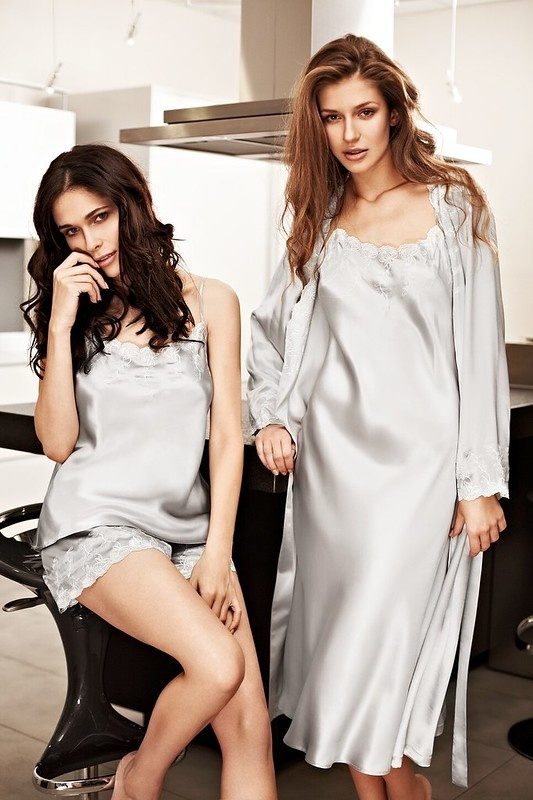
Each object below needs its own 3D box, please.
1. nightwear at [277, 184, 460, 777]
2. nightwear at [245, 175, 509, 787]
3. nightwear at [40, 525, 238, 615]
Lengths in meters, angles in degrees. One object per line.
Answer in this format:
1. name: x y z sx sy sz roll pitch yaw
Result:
1. nightwear: 0.152 0.211 1.272 0.407 1.023 0.310 3 12 22
2. nightwear: 0.188 0.134 1.275 0.523 1.041 0.307 4 4 23
3. nightwear: -0.247 0.253 1.155 0.216 0.080 0.156 8 2 -1
